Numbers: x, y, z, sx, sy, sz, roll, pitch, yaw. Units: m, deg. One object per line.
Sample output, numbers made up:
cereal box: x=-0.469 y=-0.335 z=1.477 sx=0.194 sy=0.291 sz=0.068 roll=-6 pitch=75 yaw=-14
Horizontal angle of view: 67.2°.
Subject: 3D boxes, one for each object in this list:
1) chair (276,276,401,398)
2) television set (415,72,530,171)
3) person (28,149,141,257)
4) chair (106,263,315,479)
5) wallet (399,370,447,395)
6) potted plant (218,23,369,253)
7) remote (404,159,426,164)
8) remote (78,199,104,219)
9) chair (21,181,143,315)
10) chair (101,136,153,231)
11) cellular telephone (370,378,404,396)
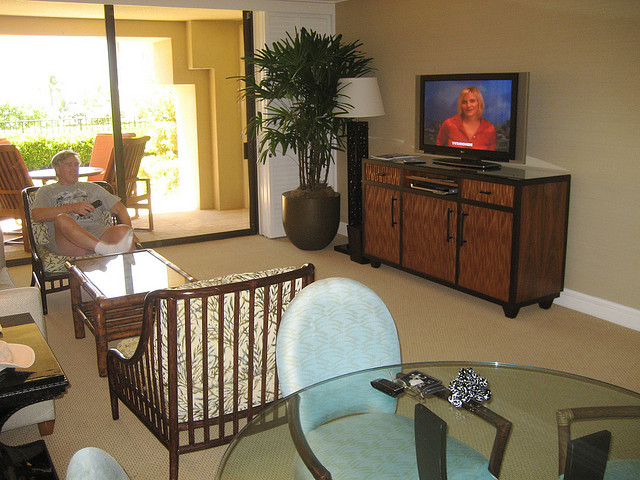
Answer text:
chair: x=0.028 y=0.351 z=2.026 sx=0.426 sy=0.500 sz=0.469 roll=-14 pitch=38 yaw=-14
television set: x=1.319 y=-1.053 z=4.275 sx=0.310 sy=0.794 sz=1.170 roll=-17 pitch=23 yaw=-30
person: x=-2.068 y=-0.260 z=4.529 sx=1.008 sy=1.025 sz=0.892 roll=-8 pitch=-4 yaw=40
chair: x=-0.534 y=0.437 z=2.496 sx=0.807 sy=0.897 sz=1.038 roll=-9 pitch=20 yaw=-31
wallet: x=0.359 y=0.488 z=1.652 sx=0.154 sy=0.022 sz=0.124 roll=15 pitch=24 yaw=40
potted plant: x=-0.187 y=-1.197 z=5.670 sx=1.389 sy=2.535 sz=1.423 roll=-10 pitch=20 yaw=-23
remote: x=0.898 y=-0.736 z=4.549 sx=0.203 sy=0.015 sz=0.197 roll=1 pitch=18 yaw=5
remote: x=-2.076 y=-0.280 z=4.328 sx=0.029 sy=0.055 sz=0.228 roll=33 pitch=61 yaw=29
chair: x=-2.071 y=-0.048 z=4.600 sx=1.040 sy=1.138 sz=1.166 roll=-9 pitch=14 yaw=-32
chair: x=-2.132 y=-0.662 z=5.849 sx=0.804 sy=0.983 sz=0.760 roll=3 pitch=-3 yaw=-22
cellular telephone: x=0.229 y=0.489 z=1.621 sx=0.071 sy=0.018 sz=0.041 roll=14 pitch=22 yaw=42
